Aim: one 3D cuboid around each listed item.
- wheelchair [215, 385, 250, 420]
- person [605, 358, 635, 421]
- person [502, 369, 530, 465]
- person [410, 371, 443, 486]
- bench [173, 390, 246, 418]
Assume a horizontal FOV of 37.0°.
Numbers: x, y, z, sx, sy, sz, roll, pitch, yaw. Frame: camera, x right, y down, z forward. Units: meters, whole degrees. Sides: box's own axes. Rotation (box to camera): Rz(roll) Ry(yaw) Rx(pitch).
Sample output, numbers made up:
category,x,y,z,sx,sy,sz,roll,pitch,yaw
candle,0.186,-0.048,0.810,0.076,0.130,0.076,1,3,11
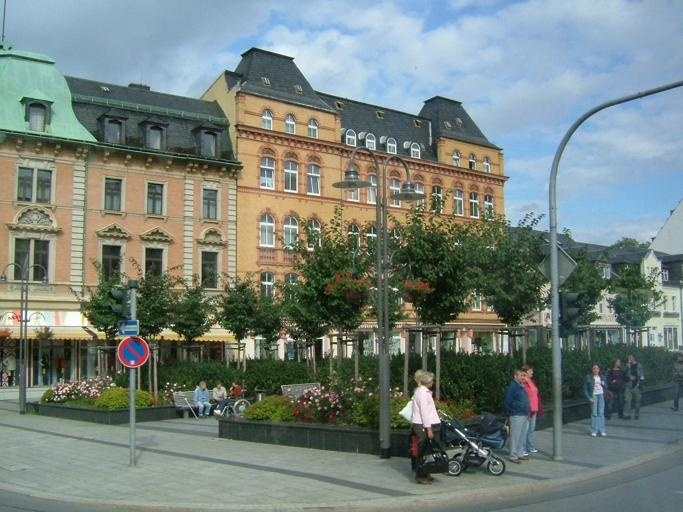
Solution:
category,x,y,z,sx,sy,sz,roll,pitch,yaw
wheelchair,-4.391,5.687,40.430,1.597,1.343,1.096,1,-9,2
person,10.478,5.085,39.184,1.127,3.052,0.948,-6,-5,41
person,5.366,4.903,31.402,0.777,2.861,0.620,1,-8,-12
person,2.547,4.982,29.835,0.873,3.113,0.915,5,-9,-33
bench,-5.215,5.957,40.263,2.601,1.227,2.632,-3,-5,37
